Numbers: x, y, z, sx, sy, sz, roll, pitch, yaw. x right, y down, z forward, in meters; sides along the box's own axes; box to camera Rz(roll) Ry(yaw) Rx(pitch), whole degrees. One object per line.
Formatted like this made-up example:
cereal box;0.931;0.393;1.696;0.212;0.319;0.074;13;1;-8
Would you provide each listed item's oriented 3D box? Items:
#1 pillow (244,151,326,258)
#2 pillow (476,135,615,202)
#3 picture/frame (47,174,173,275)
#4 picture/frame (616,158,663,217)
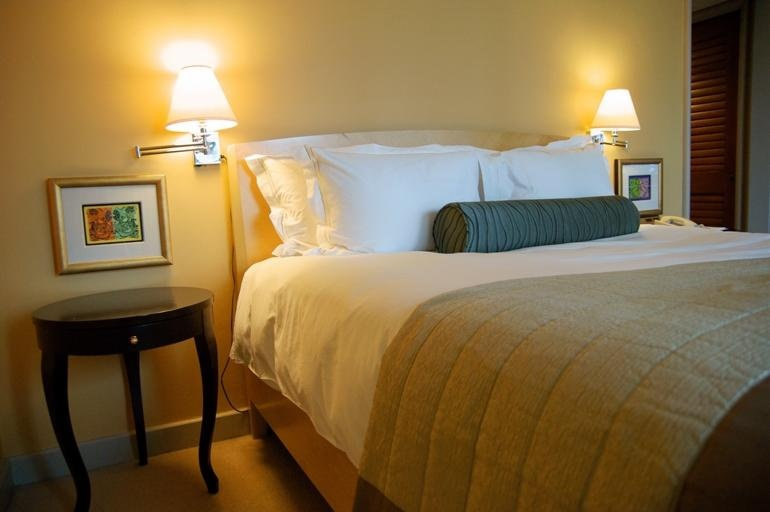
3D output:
pillow;-0.453;-0.232;2.654;0.424;0.461;0.136;-3;-1;-32
pillow;0.844;-0.462;3.024;0.500;0.341;0.083;-5;-24;-16
picture/frame;-1.283;-0.151;2.562;0.422;0.430;0.043;-6;7;-22
picture/frame;1.723;-0.471;3.814;0.507;0.518;0.050;-4;6;-23
